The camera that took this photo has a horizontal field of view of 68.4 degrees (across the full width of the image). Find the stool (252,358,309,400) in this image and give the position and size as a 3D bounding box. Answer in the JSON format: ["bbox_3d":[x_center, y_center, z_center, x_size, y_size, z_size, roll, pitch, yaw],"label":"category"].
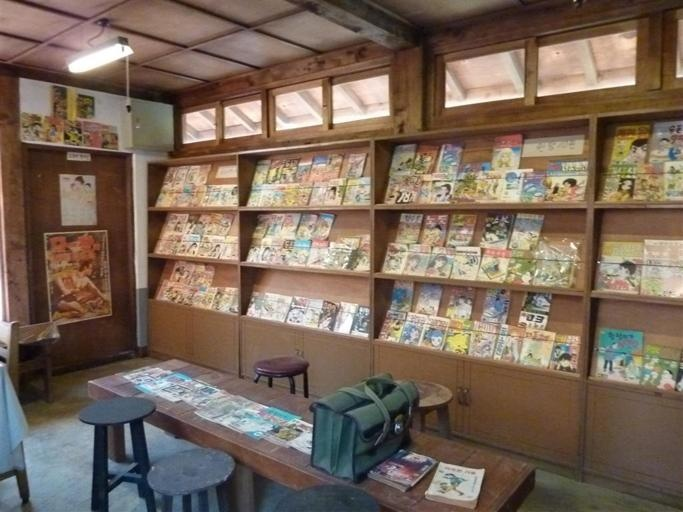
[{"bbox_3d":[-0.582,1.183,4.734,0.511,0.354,0.410,3,11,11],"label":"stool"}]

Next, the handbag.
[{"bbox_3d":[0.161,1.060,3.277,0.578,0.429,0.818,3,2,26],"label":"handbag"}]

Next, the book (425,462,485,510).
[{"bbox_3d":[0.673,1.333,2.938,0.280,0.110,0.310,4,2,20],"label":"book"}]
